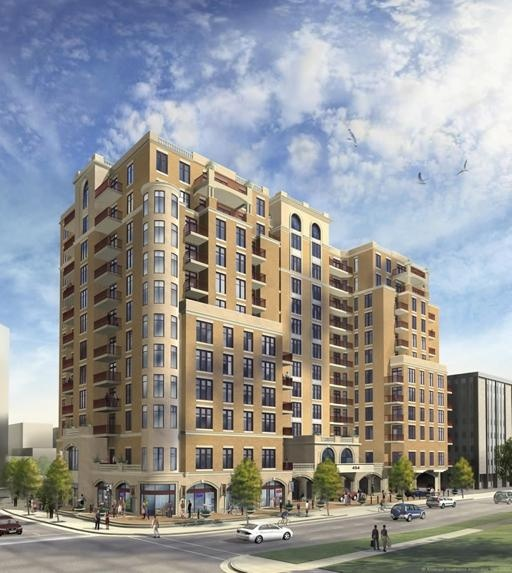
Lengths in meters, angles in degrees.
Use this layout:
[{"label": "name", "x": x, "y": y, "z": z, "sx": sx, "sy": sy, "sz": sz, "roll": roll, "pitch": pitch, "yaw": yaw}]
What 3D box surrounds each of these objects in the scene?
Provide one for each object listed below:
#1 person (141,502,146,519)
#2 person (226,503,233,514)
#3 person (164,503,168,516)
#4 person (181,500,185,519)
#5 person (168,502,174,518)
[{"label": "person", "x": -10.695, "y": 21.583, "z": 89.885, "sx": 0.528, "sy": 1.467, "sz": 1.692, "roll": 1, "pitch": -19, "yaw": -8}, {"label": "person", "x": -2.591, "y": 22.823, "z": 96.235, "sx": 0.641, "sy": 1.185, "sz": 1.356, "roll": -1, "pitch": -19, "yaw": -2}, {"label": "person", "x": -8.620, "y": 21.628, "z": 90.546, "sx": 0.461, "sy": 1.310, "sz": 0.912, "roll": 1, "pitch": -19, "yaw": -9}, {"label": "person", "x": -7.067, "y": 21.596, "z": 91.525, "sx": 0.563, "sy": 1.742, "sz": 0.990, "roll": 1, "pitch": -19, "yaw": -7}, {"label": "person", "x": -8.209, "y": 21.661, "z": 90.664, "sx": 0.566, "sy": 1.430, "sz": 1.213, "roll": -4, "pitch": -19, "yaw": 6}]
